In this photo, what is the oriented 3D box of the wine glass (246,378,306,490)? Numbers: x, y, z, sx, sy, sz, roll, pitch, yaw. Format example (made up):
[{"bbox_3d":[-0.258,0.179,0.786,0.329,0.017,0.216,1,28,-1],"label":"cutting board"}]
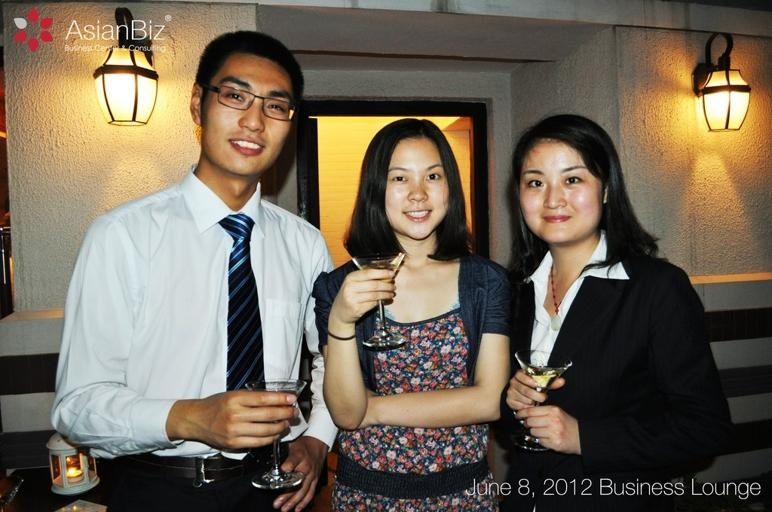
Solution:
[{"bbox_3d":[-0.618,1.057,3.336,0.313,0.697,0.327,-3,7,-36],"label":"wine glass"}]

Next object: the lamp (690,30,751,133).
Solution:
[{"bbox_3d":[3.250,-1.697,5.599,0.513,0.912,0.509,-11,11,-36],"label":"lamp"}]
